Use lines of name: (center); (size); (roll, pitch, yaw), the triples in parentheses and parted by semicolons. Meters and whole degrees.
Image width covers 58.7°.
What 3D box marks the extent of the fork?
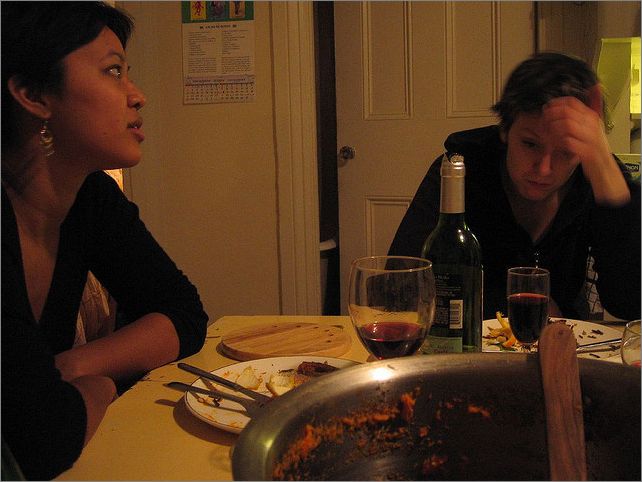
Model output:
fork: (-0.164, 0.252, 0.892); (0.153, 0.014, 0.059); (17, 20, 13)

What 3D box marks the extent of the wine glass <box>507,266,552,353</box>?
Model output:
wine glass: (0.375, 0.146, 1.036); (0.068, 0.192, 0.070); (-6, 13, -16)

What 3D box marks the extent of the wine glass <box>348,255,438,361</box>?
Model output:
wine glass: (0.093, 0.105, 0.952); (0.135, 0.246, 0.149); (0, -2, -3)
